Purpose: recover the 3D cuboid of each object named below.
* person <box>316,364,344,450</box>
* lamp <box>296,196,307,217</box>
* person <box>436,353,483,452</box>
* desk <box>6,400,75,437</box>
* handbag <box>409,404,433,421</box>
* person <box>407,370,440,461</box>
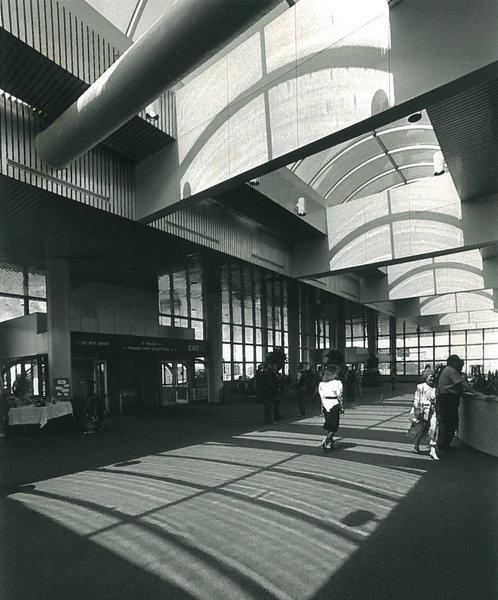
[{"bbox_3d":[1.378,1.794,10.522,0.373,1.370,0.430,-2,-4,6],"label":"person"},{"bbox_3d":[1.292,-2.337,15.567,0.164,0.532,0.559,-3,-5,17],"label":"lamp"},{"bbox_3d":[3.318,1.664,10.236,0.534,1.532,0.779,-3,-5,19],"label":"person"},{"bbox_3d":[-4.681,2.590,13.941,1.406,0.561,0.942,0,-7,-24],"label":"desk"},{"bbox_3d":[2.788,1.796,10.020,0.178,0.160,0.262,-4,-2,39],"label":"handbag"},{"bbox_3d":[2.825,1.795,9.958,0.440,1.348,0.812,0,-5,-16],"label":"person"}]
